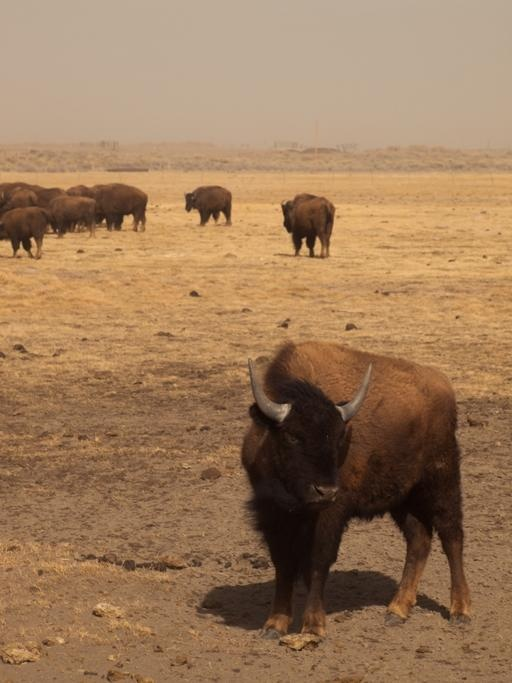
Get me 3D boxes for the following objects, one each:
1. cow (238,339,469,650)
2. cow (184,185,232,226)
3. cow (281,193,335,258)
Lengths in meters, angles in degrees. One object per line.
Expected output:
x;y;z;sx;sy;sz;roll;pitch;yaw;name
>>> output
0.499;0.888;5.974;1.605;1.672;0.822;-11;16;-44;cow
-1.374;-4.219;32.890;1.164;1.128;1.836;-1;12;-5;cow
1.227;-2.714;25.005;0.784;1.406;2.262;-4;8;-24;cow
